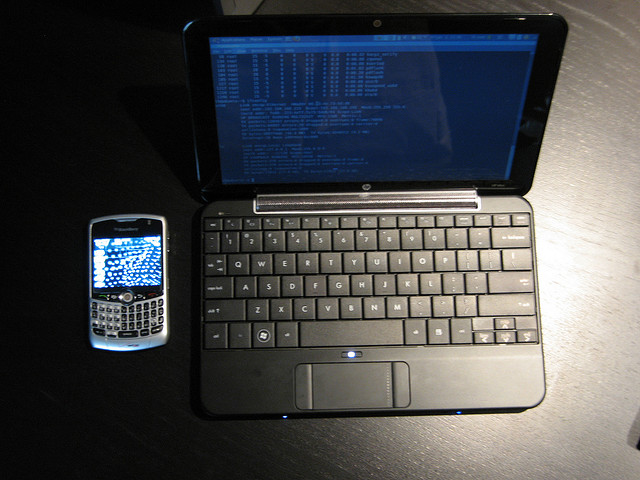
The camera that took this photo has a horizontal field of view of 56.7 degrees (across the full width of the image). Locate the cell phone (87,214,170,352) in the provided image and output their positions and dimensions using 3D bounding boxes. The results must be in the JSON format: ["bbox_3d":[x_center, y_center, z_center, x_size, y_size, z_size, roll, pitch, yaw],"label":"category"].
[{"bbox_3d":[-0.318,0.069,0.986,0.129,0.201,0.125,-4,25,1],"label":"cell phone"}]
